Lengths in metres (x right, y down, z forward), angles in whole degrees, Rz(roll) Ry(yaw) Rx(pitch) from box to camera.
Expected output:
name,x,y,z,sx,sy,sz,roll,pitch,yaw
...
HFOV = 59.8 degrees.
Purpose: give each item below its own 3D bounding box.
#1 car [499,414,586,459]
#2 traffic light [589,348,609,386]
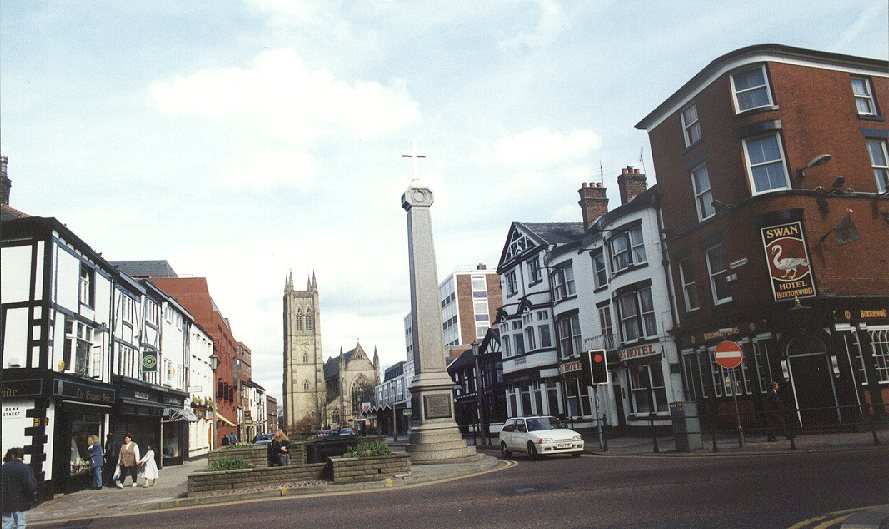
name,x,y,z,sx,sy,sz,roll,pitch,yaw
car,4.373,8.126,36.669,2.142,1.394,3.300,4,-22,-19
traffic light,7.258,4.776,36.590,0.792,1.589,0.577,-13,-17,23
